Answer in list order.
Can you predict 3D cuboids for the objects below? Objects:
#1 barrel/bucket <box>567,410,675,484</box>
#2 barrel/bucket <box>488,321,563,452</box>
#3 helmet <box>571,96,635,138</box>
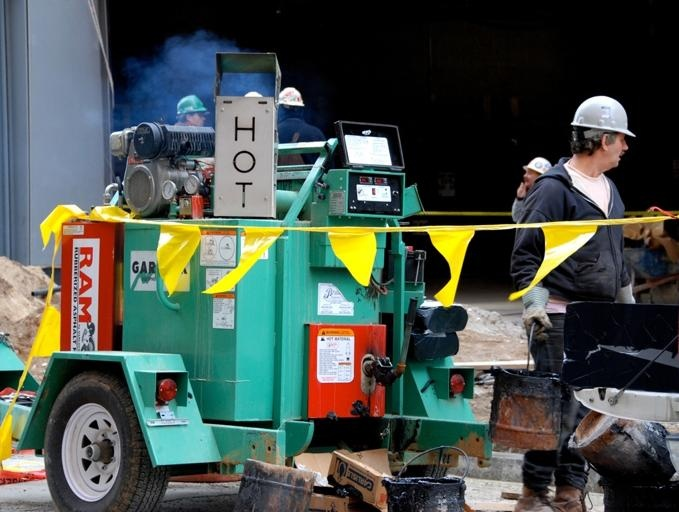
[{"bbox_3d":[1.845,1.230,6.673,0.501,0.240,0.437,12,-9,-31],"label":"barrel/bucket"},{"bbox_3d":[1.304,0.905,7.142,0.519,0.734,0.536,5,-3,0],"label":"barrel/bucket"},{"bbox_3d":[1.943,-1.032,7.615,0.487,0.305,0.420,10,9,22],"label":"helmet"}]
